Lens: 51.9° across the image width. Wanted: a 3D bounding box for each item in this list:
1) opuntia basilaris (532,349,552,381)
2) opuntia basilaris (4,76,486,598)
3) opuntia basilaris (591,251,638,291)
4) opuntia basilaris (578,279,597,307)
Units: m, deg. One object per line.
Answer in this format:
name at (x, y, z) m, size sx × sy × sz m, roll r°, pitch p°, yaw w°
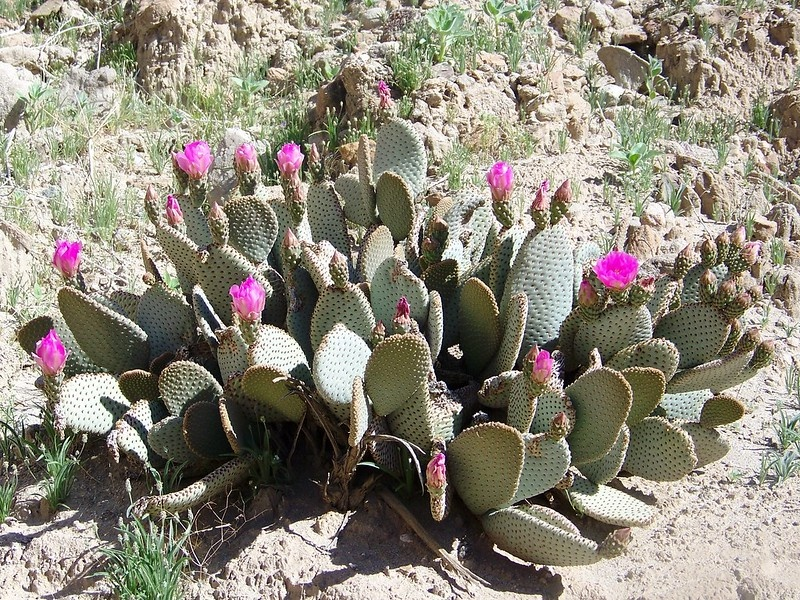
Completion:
opuntia basilaris at (0.557, 0.260, 3.241) m, size 0.066 × 0.125 × 0.068 m, roll 7°, pitch 15°, yaw -37°
opuntia basilaris at (-0.476, 0.127, 3.783) m, size 2.024 × 1.203 × 1.696 m, roll -30°, pitch 51°, yaw -29°
opuntia basilaris at (0.895, -0.119, 3.434) m, size 0.140 × 0.089 × 0.173 m, roll 9°, pitch 81°, yaw 22°
opuntia basilaris at (0.809, -0.031, 3.512) m, size 0.066 × 0.113 × 0.045 m, roll -3°, pitch 10°, yaw -3°
